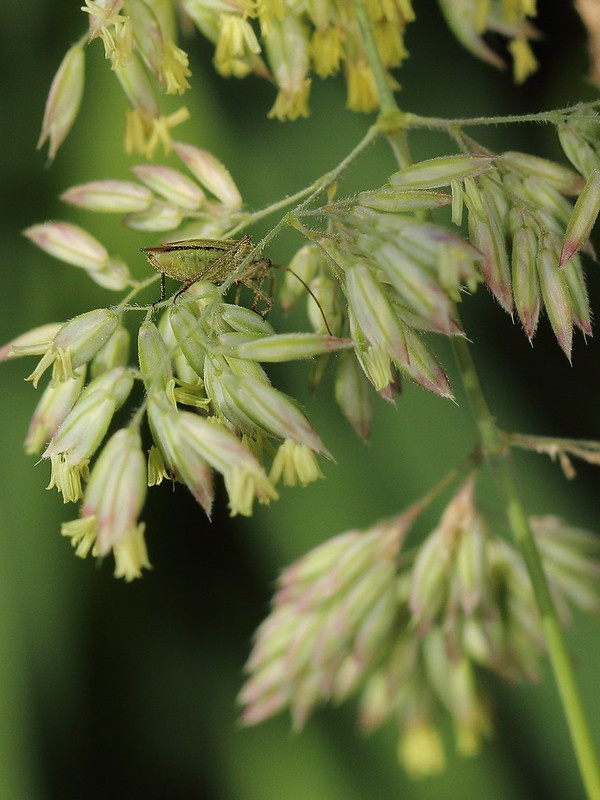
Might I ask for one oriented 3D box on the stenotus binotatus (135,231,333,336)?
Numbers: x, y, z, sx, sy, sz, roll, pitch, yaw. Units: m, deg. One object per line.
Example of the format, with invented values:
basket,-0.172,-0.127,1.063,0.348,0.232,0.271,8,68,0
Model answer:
stenotus binotatus,-0.053,-0.093,0.621,0.130,0.097,0.042,13,88,14
